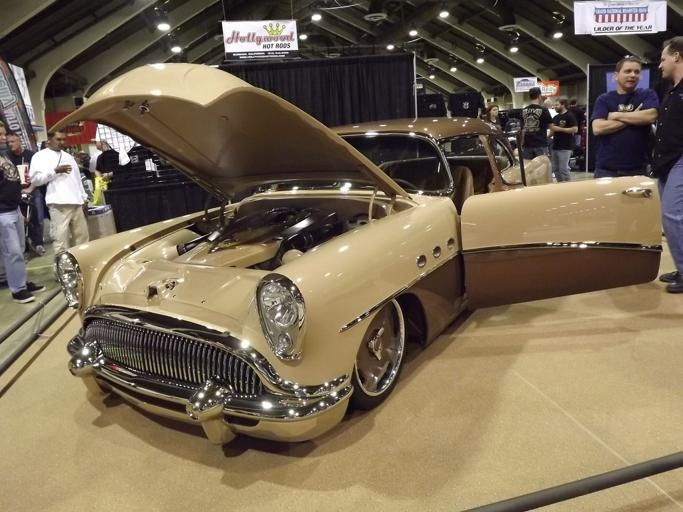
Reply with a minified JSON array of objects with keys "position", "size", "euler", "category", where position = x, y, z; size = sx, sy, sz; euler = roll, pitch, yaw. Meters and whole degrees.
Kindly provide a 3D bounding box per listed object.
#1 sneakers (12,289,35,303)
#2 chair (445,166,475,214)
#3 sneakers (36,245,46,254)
[{"position":[-3.612,0.453,4.827],"size":[0.292,0.126,0.119],"euler":[3,9,29],"category":"sneakers"},{"position":[0.897,-0.514,3.185],"size":[0.257,0.379,0.304],"euler":[3,1,17],"category":"chair"},{"position":[-5.184,-0.118,7.346],"size":[0.111,0.137,0.306],"euler":[-4,12,-28],"category":"sneakers"}]
